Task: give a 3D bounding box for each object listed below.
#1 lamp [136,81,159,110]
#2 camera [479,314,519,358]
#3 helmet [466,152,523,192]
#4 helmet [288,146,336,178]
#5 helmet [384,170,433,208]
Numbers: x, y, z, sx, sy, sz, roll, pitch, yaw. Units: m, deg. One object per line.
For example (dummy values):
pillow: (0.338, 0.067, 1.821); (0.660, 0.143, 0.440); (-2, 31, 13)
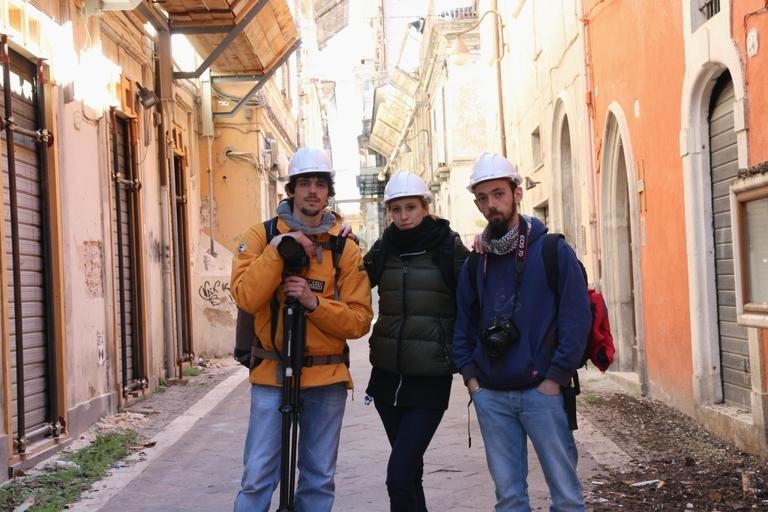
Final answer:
lamp: (-4.027, -2.721, 10.953); (0.322, 0.275, 0.633); (-23, 45, -12)
camera: (0.705, 0.511, 4.050); (0.196, 0.135, 0.249); (-8, 21, 0)
helmet: (0.755, -0.590, 4.353); (0.241, 0.181, 0.318); (-11, -22, 26)
helmet: (-0.521, -0.668, 4.596); (0.232, 0.170, 0.312); (0, -14, -7)
helmet: (0.175, -0.522, 4.774); (0.222, 0.165, 0.290); (-3, -13, 13)
